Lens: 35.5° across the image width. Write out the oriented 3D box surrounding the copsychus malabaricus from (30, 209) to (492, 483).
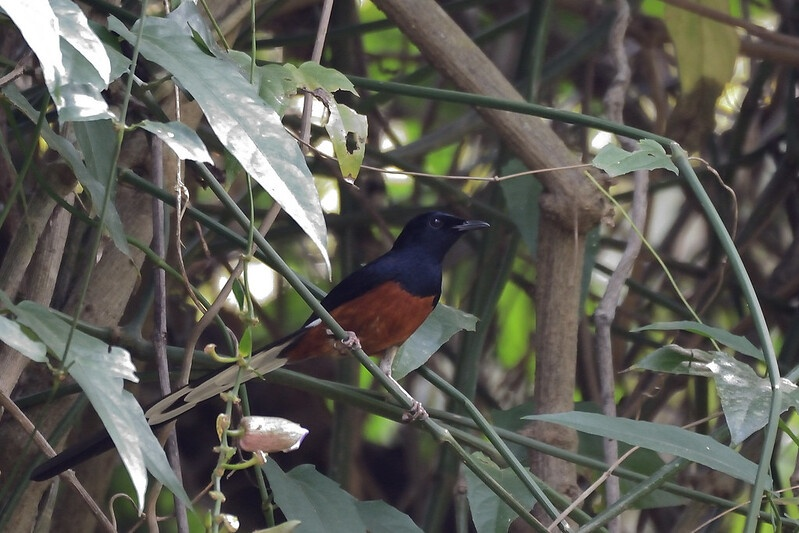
[{"bbox_3d":[-0.511,0.257,5.364,1.886,0.790,0.432,-8,-10,19],"label":"copsychus malabaricus"}]
